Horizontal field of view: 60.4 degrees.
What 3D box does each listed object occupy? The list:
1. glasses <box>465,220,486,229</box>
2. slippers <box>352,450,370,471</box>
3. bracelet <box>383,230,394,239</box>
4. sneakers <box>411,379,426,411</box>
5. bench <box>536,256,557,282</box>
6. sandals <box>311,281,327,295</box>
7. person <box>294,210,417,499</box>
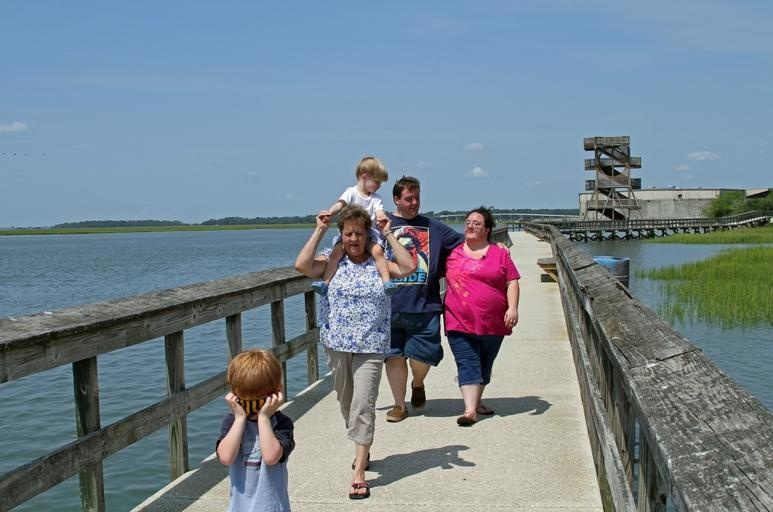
[{"bbox_3d":[0.875,-0.308,6.531,0.190,0.060,0.091,0,6,13],"label":"glasses"},{"bbox_3d":[-0.203,1.647,5.280,0.102,0.107,0.289,0,-7,6],"label":"slippers"},{"bbox_3d":[0.012,-0.168,5.357,0.061,0.042,0.060,7,3,22],"label":"bracelet"},{"bbox_3d":[0.322,1.414,6.718,0.121,0.299,0.113,-4,-23,5],"label":"sneakers"},{"bbox_3d":[4.166,0.342,17.174,0.518,0.422,0.916,0,3,9],"label":"bench"},{"bbox_3d":[-0.510,0.252,5.242,0.056,0.097,0.138,-8,8,-42],"label":"sandals"},{"bbox_3d":[-0.315,0.691,5.068,0.660,2.125,0.615,0,6,13],"label":"person"}]
